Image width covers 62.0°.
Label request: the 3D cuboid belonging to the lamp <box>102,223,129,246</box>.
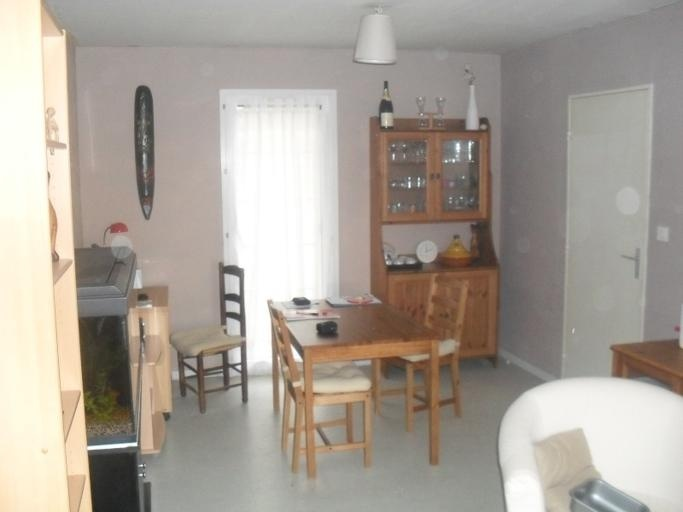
[{"bbox_3d":[-1.928,-0.190,4.844,0.130,0.293,0.240,-6,15,-43],"label":"lamp"}]

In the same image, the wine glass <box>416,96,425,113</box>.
[{"bbox_3d":[0.715,-1.362,5.126,0.075,0.147,0.168,1,11,11],"label":"wine glass"}]

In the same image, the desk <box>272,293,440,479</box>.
[{"bbox_3d":[0.039,0.713,3.938,0.949,1.065,1.222,-5,14,-14],"label":"desk"}]

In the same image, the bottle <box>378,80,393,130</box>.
[{"bbox_3d":[0.398,-1.351,5.100,0.116,0.420,0.184,-2,11,-8],"label":"bottle"}]

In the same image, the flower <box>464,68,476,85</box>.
[{"bbox_3d":[1.247,-1.726,5.455,0.124,0.165,0.084,-2,11,-8],"label":"flower"}]

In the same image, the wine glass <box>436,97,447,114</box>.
[{"bbox_3d":[0.922,-1.391,5.268,0.089,0.153,0.411,1,11,10],"label":"wine glass"}]

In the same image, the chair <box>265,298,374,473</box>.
[{"bbox_3d":[-0.228,0.741,4.208,0.904,1.539,0.793,-3,14,-10],"label":"chair"}]
